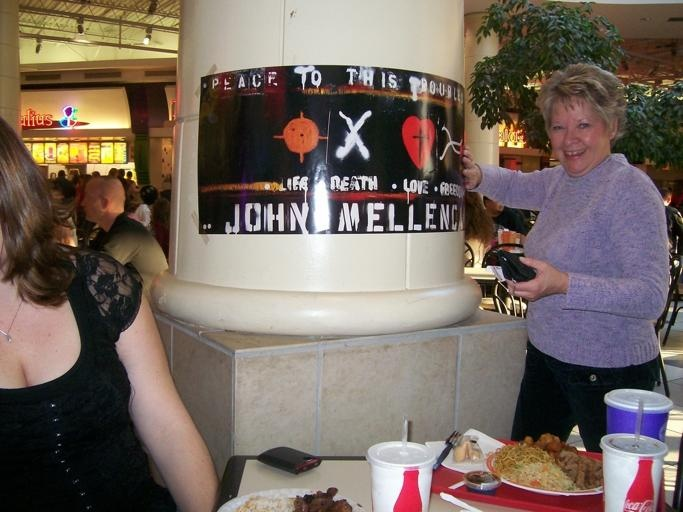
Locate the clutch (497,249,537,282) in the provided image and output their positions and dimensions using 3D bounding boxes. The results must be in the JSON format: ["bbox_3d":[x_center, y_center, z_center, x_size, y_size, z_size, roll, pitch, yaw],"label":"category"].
[{"bbox_3d":[0.574,0.041,1.763,0.085,0.125,0.048,-4,-14,-10],"label":"clutch"}]
